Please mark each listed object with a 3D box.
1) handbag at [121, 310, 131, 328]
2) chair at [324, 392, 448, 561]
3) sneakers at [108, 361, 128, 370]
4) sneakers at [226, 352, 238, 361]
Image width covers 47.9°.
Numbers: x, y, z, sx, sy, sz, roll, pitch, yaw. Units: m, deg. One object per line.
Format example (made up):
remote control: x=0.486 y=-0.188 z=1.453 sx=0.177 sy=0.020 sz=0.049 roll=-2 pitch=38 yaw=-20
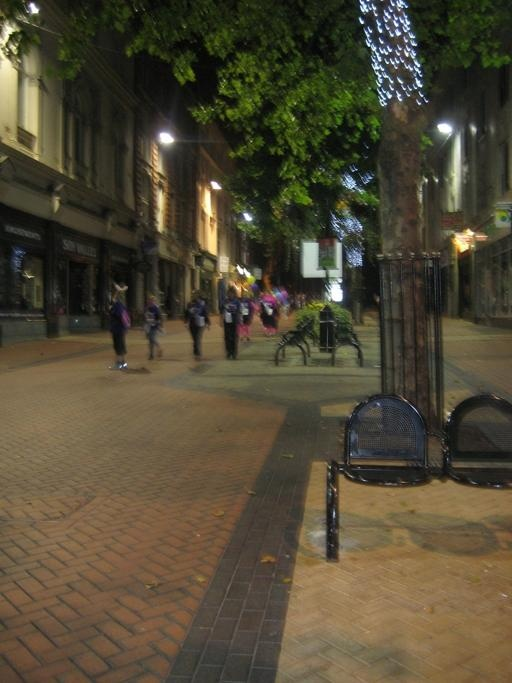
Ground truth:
handbag: x=-3.066 y=-0.519 z=13.569 sx=0.094 sy=0.354 sz=0.265 roll=-9 pitch=-4 yaw=3
chair: x=0.766 y=0.803 z=3.342 sx=0.906 sy=0.951 sz=0.659 roll=0 pitch=-1 yaw=-16
sneakers: x=-3.257 y=0.574 z=13.623 sx=0.410 sy=0.275 sz=0.145 roll=5 pitch=-5 yaw=12
sneakers: x=-0.671 y=0.384 z=15.771 sx=0.332 sy=0.228 sz=0.181 roll=1 pitch=-8 yaw=4
